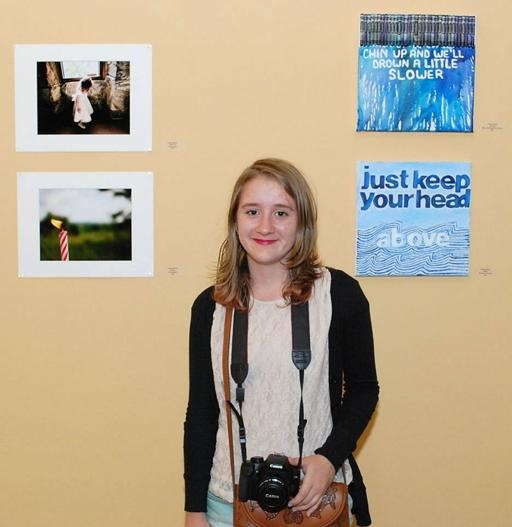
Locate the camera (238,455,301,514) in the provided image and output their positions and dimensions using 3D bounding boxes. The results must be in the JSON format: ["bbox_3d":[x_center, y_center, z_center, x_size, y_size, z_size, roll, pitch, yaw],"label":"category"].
[{"bbox_3d":[0.042,0.694,2.776,0.187,0.175,0.137,6,19,3],"label":"camera"}]

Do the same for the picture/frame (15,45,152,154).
[{"bbox_3d":[-0.692,-0.699,3.614,0.388,0.331,0.009,-1,5,-1],"label":"picture/frame"}]
